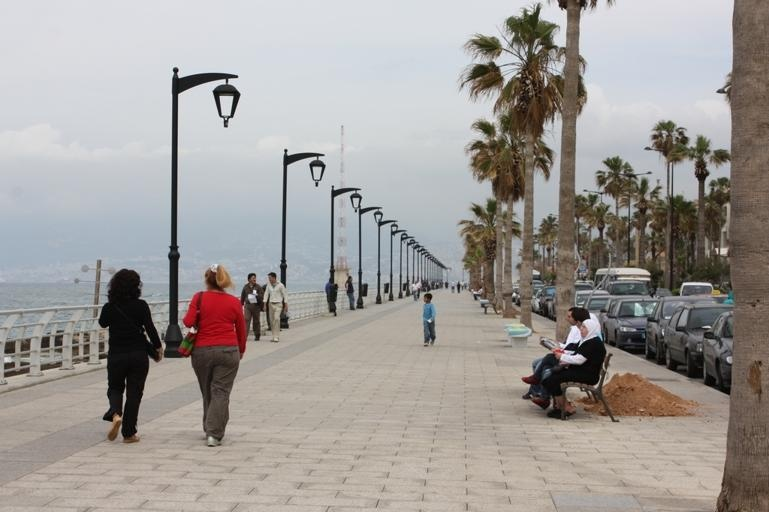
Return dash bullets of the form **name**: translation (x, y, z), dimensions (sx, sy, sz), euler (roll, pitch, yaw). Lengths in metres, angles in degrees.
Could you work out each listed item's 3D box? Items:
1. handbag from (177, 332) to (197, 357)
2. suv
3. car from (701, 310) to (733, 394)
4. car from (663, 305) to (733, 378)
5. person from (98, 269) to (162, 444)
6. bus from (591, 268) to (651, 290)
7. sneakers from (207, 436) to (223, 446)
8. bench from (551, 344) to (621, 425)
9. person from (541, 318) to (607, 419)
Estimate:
- **handbag**: translation (-2.801, 1.252, 11.123), dimensions (0.222, 0.316, 0.407), euler (-4, -1, -15)
- **suv**: translation (8.068, 1.917, 21.466), dimensions (1.337, 1.295, 2.486), euler (0, -5, 2)
- **car**: translation (7.090, 2.070, 16.611), dimensions (0.615, 1.766, 1.806), euler (-4, -1, 22)
- **car**: translation (7.655, 1.950, 19.136), dimensions (1.042, 0.994, 2.069), euler (-1, -4, 1)
- **person**: translation (-3.606, 1.391, 11.064), dimensions (0.808, 2.220, 0.826), euler (-4, -1, -21)
- **bus**: translation (12.520, 1.024, 42.258), dimensions (2.010, 1.685, 3.914), euler (0, -5, -4)
- **sneakers**: translation (-2.364, 2.563, 10.824), dimensions (0.084, 0.104, 0.222), euler (3, 4, 8)
- **bench**: translation (3.651, 2.295, 13.807), dimensions (0.944, 1.170, 1.596), euler (1, -7, 18)
- **person**: translation (3.162, 1.850, 13.001), dimensions (1.107, 1.678, 0.609), euler (-4, -1, 4)
